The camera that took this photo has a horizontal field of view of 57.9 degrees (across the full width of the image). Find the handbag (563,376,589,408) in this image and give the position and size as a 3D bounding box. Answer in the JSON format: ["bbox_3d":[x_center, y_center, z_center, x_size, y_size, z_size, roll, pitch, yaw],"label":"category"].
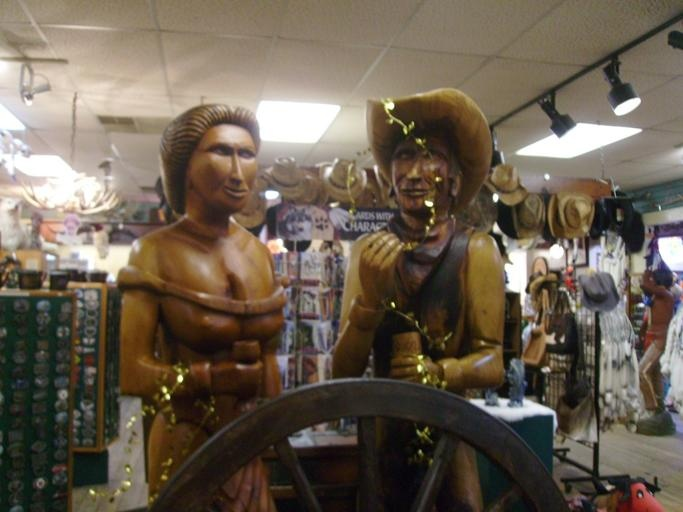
[{"bbox_3d":[2.271,1.324,5.974,0.092,0.282,0.184,11,-10,-38],"label":"handbag"}]

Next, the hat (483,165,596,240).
[{"bbox_3d":[1.665,-0.384,5.135,0.819,0.645,0.321,9,3,5],"label":"hat"}]

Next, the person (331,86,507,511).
[{"bbox_3d":[0.425,-0.057,3.388,0.918,1.659,0.305,-2,-4,-2],"label":"person"}]

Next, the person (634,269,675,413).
[{"bbox_3d":[4.065,0.977,7.945,0.461,1.695,1.349,-4,-4,27],"label":"person"}]

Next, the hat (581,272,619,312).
[{"bbox_3d":[2.469,0.340,5.877,0.375,0.383,0.216,-3,-4,10],"label":"hat"}]

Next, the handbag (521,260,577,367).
[{"bbox_3d":[2.181,0.631,6.455,0.341,1.037,0.999,0,-2,-5],"label":"handbag"}]
